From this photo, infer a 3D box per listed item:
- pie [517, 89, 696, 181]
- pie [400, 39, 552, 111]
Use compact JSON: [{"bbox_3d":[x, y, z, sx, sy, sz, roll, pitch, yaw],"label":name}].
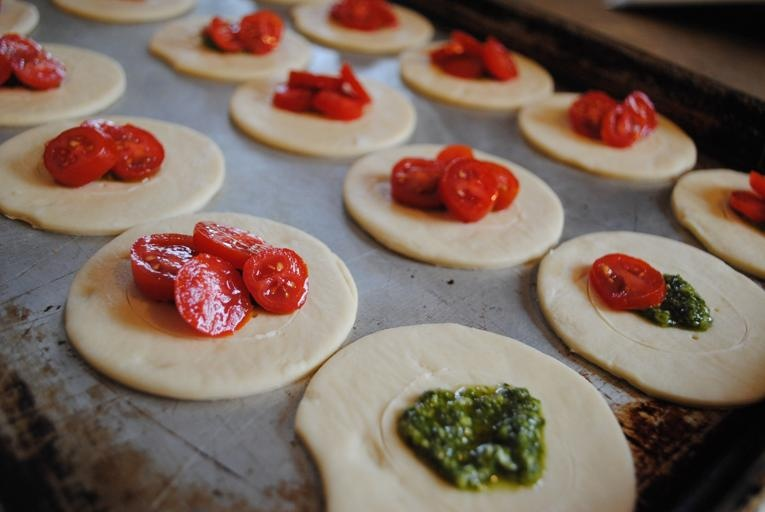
[{"bbox_3d":[1.029,-0.475,3.174,0.492,0.044,0.548,-12,38,-24],"label":"pie"},{"bbox_3d":[0.454,-0.865,3.507,0.750,0.159,0.471,11,61,-1],"label":"pie"}]
